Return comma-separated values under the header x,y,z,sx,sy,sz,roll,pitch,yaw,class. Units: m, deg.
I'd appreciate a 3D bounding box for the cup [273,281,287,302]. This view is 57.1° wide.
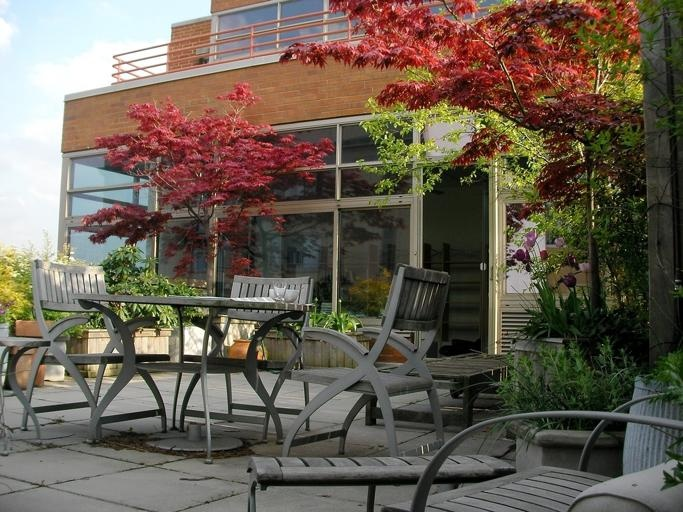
x,y,z,sx,sy,sz,roll,pitch,yaw,class
-0.394,0.237,4.231,0.118,0.142,0.110,0,-12,0,cup
